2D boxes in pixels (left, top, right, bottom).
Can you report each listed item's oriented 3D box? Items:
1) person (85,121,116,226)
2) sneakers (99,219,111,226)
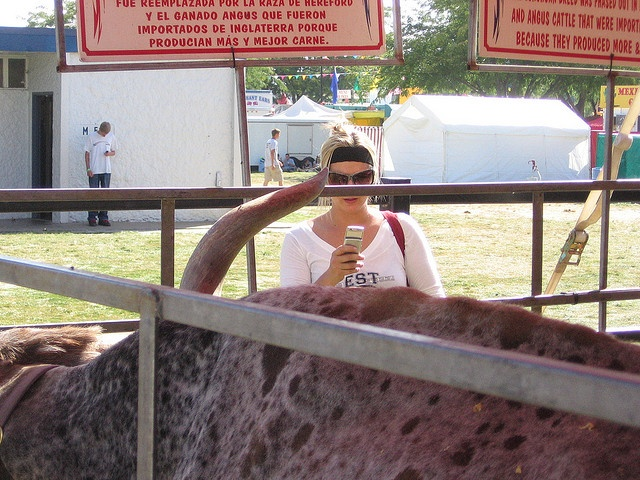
[{"bbox_3d":[-3.130,-0.958,18.889,0.481,1.517,0.418,-1,4,-26],"label":"person"},{"bbox_3d":[-3.173,-0.248,19.430,0.061,0.082,0.184,-5,13,-32],"label":"sneakers"}]
